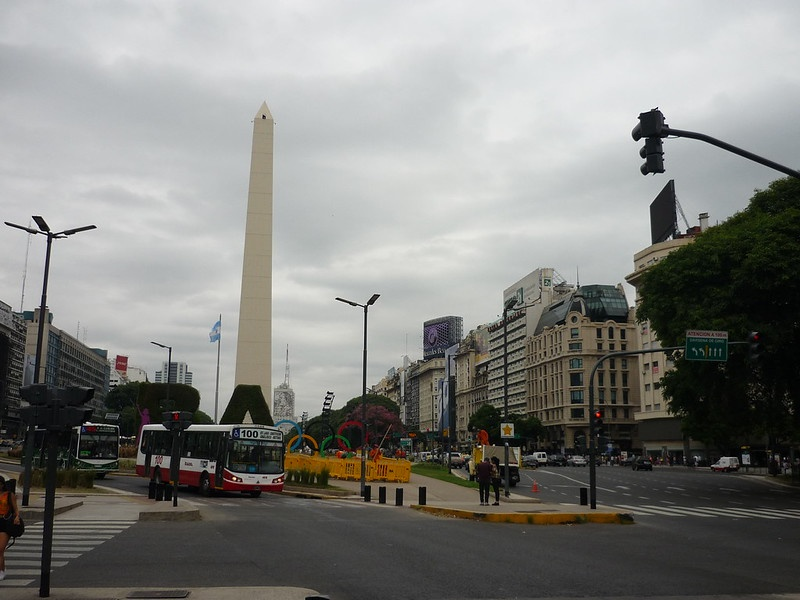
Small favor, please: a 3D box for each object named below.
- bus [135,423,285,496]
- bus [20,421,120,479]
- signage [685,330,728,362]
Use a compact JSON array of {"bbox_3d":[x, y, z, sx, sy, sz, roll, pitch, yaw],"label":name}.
[{"bbox_3d":[-9.804,7.803,39.342,3.168,3.258,10.667,7,-14,-38],"label":"bus"},{"bbox_3d":[-21.451,9.583,51.950,2.991,3.246,10.634,10,-15,-41],"label":"bus"},{"bbox_3d":[12.228,1.762,31.866,1.325,1.006,0.178,0,-3,20],"label":"signage"}]
